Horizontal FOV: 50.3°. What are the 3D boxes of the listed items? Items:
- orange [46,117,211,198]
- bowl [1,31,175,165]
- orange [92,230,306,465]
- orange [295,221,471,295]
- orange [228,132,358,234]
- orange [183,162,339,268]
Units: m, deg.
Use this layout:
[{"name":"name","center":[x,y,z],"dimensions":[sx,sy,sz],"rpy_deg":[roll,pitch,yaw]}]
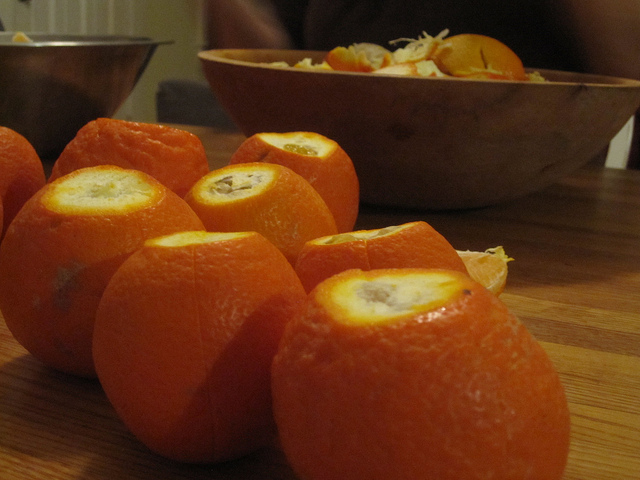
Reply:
[{"name":"orange","center":[-0.149,-0.071,0.606],"dimensions":[0.118,0.078,0.120],"rpy_deg":[-8,12,-34]},{"name":"bowl","center":[-0.314,-0.179,0.955],"dimensions":[0.228,0.097,0.234],"rpy_deg":[0,2,0]},{"name":"orange","center":[-0.071,0.052,0.460],"dimensions":[0.117,0.140,0.128],"rpy_deg":[2,4,25]},{"name":"orange","center":[0.039,0.007,0.428],"dimensions":[0.062,0.041,0.063],"rpy_deg":[-3,-2,-3]},{"name":"orange","center":[-0.029,-0.040,0.632],"dimensions":[0.093,0.097,0.092],"rpy_deg":[2,3,-36]},{"name":"orange","center":[-0.045,-0.037,0.524],"dimensions":[0.081,0.081,0.084],"rpy_deg":[10,26,44]}]
